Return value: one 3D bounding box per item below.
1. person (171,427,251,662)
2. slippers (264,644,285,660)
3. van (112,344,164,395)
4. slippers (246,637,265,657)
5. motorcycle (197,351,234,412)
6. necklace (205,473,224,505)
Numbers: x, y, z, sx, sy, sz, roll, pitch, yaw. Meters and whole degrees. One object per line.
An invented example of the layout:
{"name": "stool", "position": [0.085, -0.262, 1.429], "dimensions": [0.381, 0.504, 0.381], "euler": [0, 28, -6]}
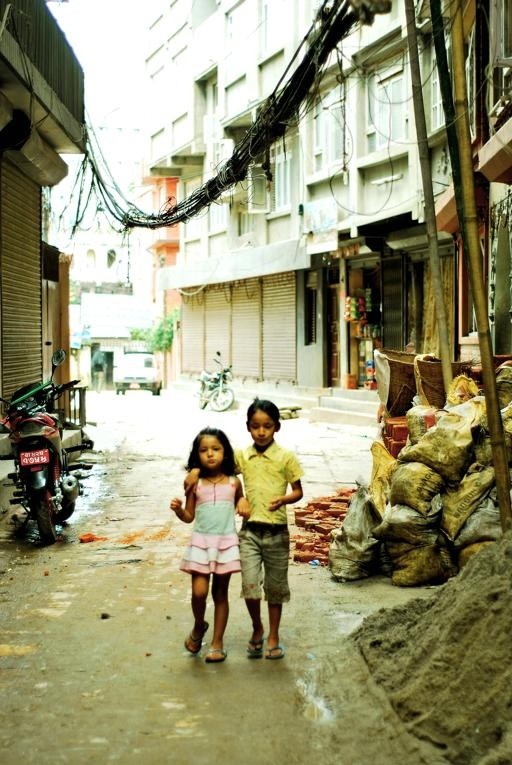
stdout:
{"name": "person", "position": [-0.190, 0.710, 3.031], "dimensions": [0.310, 1.019, 0.418], "euler": [-3, 0, -3]}
{"name": "slippers", "position": [0.081, 1.172, 3.010], "dimensions": [0.092, 0.060, 0.060], "euler": [-3, 0, -6]}
{"name": "van", "position": [-5.408, -0.481, 32.007], "dimensions": [1.821, 1.883, 3.594], "euler": [-1, -7, -2]}
{"name": "slippers", "position": [-0.002, 1.186, 3.093], "dimensions": [0.076, 0.065, 0.220], "euler": [-1, 0, -1]}
{"name": "motorcycle", "position": [-1.219, -0.131, 20.254], "dimensions": [0.729, 1.278, 1.773], "euler": [-3, 16, 30]}
{"name": "necklace", "position": [-0.181, 0.464, 3.062], "dimensions": [0.098, 0.081, 0.085], "euler": [-2, -4, 12]}
